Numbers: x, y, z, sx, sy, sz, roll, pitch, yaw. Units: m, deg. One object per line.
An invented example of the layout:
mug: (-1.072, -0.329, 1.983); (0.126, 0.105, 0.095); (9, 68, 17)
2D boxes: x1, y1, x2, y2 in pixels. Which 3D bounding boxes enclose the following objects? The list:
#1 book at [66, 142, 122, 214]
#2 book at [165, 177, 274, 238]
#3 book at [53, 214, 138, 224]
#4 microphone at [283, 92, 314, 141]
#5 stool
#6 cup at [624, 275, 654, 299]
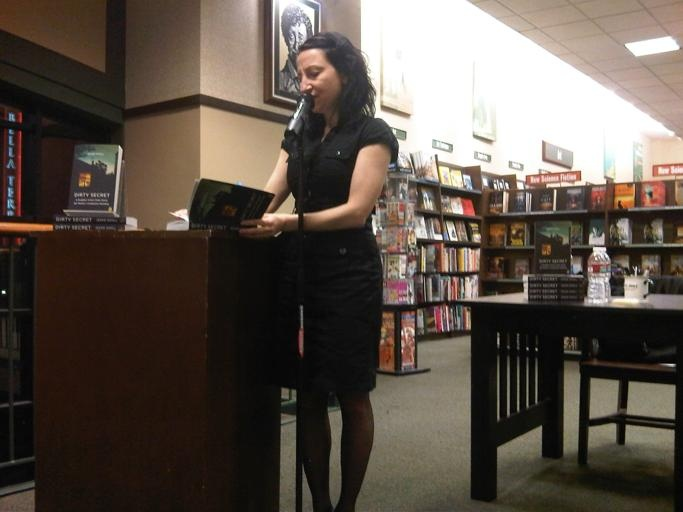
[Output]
book: (-0.910, -0.286, 2.042); (0.179, 0.285, 0.173); (0, 0, -9)
book: (-0.351, -0.158, 1.774); (0.275, 0.165, 0.170); (0, 0, -20)
book: (-0.899, -0.131, 1.999); (0.272, 0.043, 0.131); (1, 1, -1)
microphone: (-0.148, -0.520, 2.087); (0.088, 0.159, 0.200); (0, 0, 14)
stool: (1.698, 0.813, 3.343); (0.648, 0.691, 0.667); (0, 1, 37)
cup: (1.577, 0.169, 2.936); (0.110, 0.124, 0.119); (1, -6, 0)
